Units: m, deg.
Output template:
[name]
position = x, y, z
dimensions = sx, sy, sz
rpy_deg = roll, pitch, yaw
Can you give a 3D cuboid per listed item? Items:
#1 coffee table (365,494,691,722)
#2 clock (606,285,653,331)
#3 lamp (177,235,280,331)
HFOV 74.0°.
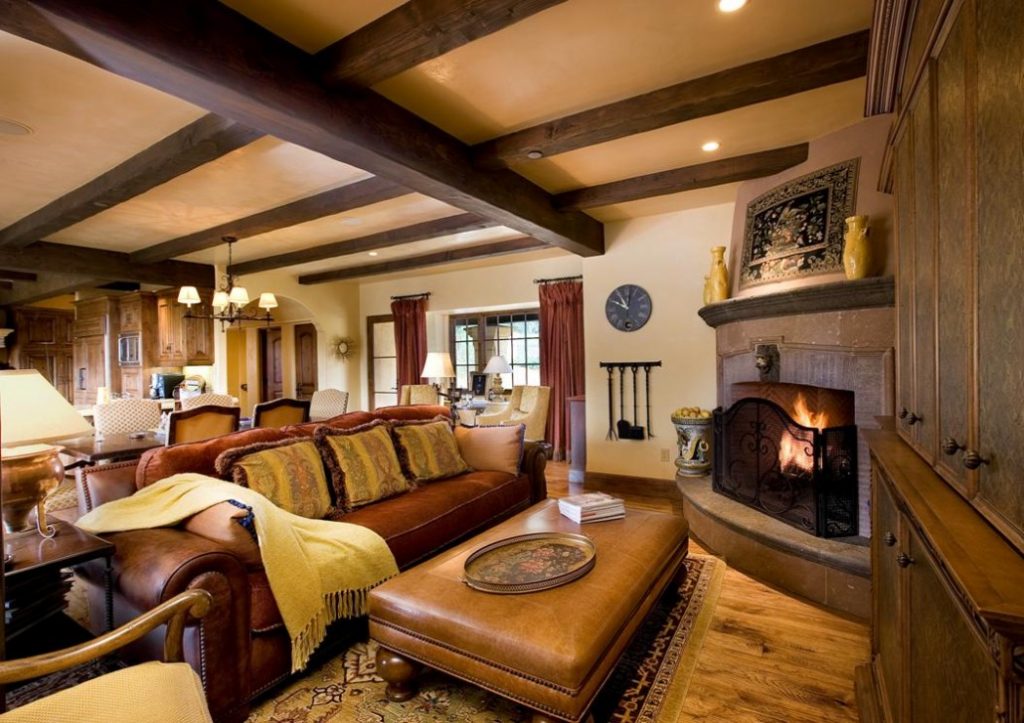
[coffee table]
position = 0.127, 1.234, 3.442
dimensions = 1.103, 0.597, 1.292
rpy_deg = 6, 14, 30
[clock]
position = 1.044, -0.487, 6.138
dimensions = 0.465, 0.435, 0.043
rpy_deg = -5, 14, -18
[lamp]
position = -2.986, -0.864, 7.171
dimensions = 1.014, 0.940, 1.074
rpy_deg = -1, 4, -39
